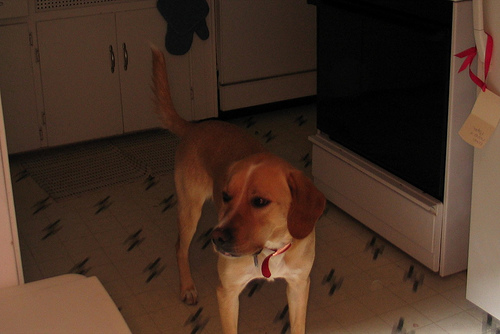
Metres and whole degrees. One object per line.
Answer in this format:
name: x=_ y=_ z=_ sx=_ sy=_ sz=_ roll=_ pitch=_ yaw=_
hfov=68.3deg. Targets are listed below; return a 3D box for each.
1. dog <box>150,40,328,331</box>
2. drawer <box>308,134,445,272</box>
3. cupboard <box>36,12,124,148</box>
dog: x=-0.185 y=0.325 z=2.387 sx=0.745 sy=1.314 sz=1.464 roll=-21 pitch=37 yaw=-23
drawer: x=1.015 y=0.290 z=2.872 sx=0.819 sy=0.618 sz=1.248 roll=-15 pitch=37 yaw=-29
cupboard: x=-1.865 y=-0.981 z=4.047 sx=0.808 sy=1.417 sz=0.414 roll=-17 pitch=33 yaw=-33
